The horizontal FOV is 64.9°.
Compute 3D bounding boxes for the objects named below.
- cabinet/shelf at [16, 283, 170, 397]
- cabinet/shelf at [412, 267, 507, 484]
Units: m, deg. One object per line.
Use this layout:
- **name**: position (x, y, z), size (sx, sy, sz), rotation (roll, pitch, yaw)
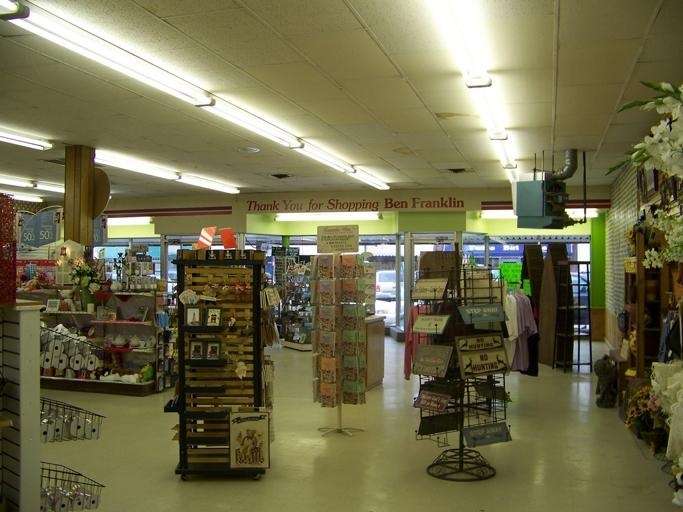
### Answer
- **cabinet/shelf**: position (-4.036, 1.451, 9.193), size (2.039, 1.678, 0.575), rotation (0, 1, 13)
- **cabinet/shelf**: position (1.382, 1.219, 6.042), size (0.959, 2.168, 1.699), rotation (0, 1, 16)
